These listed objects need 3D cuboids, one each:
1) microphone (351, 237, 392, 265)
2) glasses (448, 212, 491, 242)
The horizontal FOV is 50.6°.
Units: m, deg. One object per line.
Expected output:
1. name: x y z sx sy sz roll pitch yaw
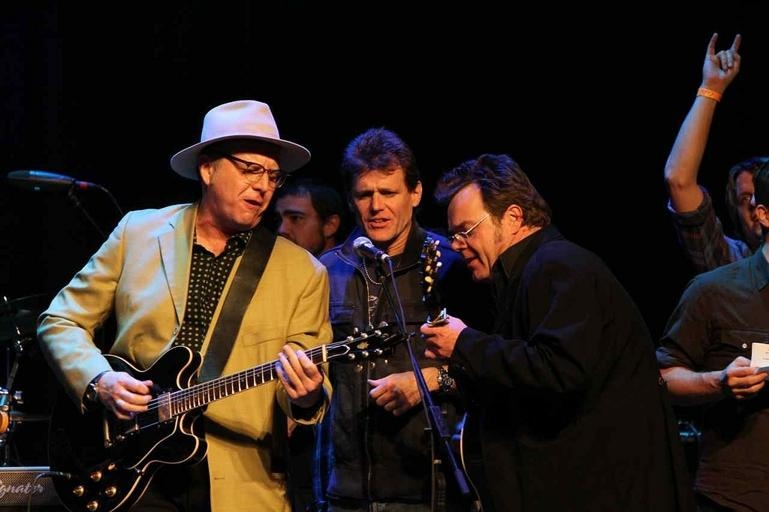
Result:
1. microphone: -0.087 -0.045 4.777 0.104 0.098 0.288 48 -16 -33
2. glasses: 0.513 -0.157 4.819 0.169 0.051 0.161 -35 3 -16
